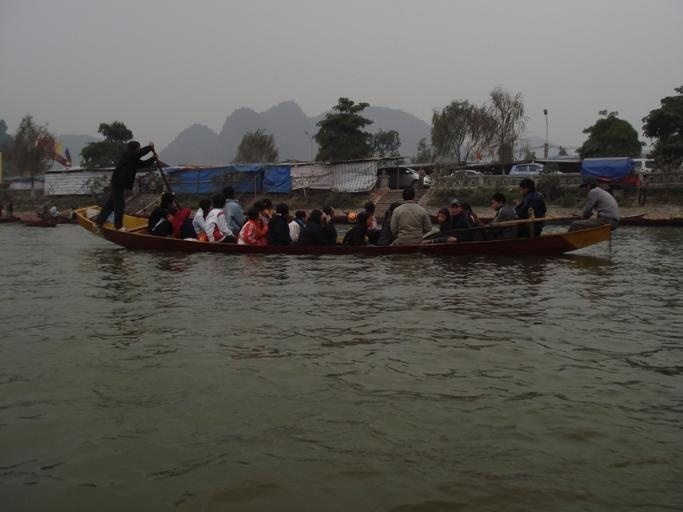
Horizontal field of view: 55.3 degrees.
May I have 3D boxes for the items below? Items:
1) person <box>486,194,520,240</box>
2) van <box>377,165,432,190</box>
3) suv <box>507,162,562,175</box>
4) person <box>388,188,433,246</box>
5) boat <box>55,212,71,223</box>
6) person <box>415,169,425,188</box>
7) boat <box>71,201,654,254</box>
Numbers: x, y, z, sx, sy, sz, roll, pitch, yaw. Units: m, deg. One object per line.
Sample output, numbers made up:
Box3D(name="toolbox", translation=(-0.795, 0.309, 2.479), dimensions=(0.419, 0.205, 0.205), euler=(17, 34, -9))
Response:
Box3D(name="person", translation=(3.368, -0.845, 13.826), dimensions=(0.801, 0.961, 0.756), euler=(0, 6, -8))
Box3D(name="van", translation=(3.577, -4.489, 36.486), dimensions=(2.729, 1.069, 1.579), euler=(-4, 2, 18))
Box3D(name="suv", translation=(10.812, -4.940, 36.345), dimensions=(2.753, 1.154, 1.590), euler=(-2, 7, 21))
Box3D(name="person", translation=(1.463, -0.813, 14.040), dimensions=(0.936, 1.184, 0.768), euler=(0, 3, 6))
Box3D(name="boat", translation=(-13.315, -1.880, 31.409), dimensions=(0.541, 0.352, 2.165), euler=(22, 2, -15))
Box3D(name="person", translation=(4.413, -4.341, 35.938), dimensions=(0.518, 1.049, 1.460), euler=(1, 2, 7))
Box3D(name="boat", translation=(0.715, -0.658, 15.319), dimensions=(14.563, 1.304, 2.354), euler=(-1, -1, 11))
